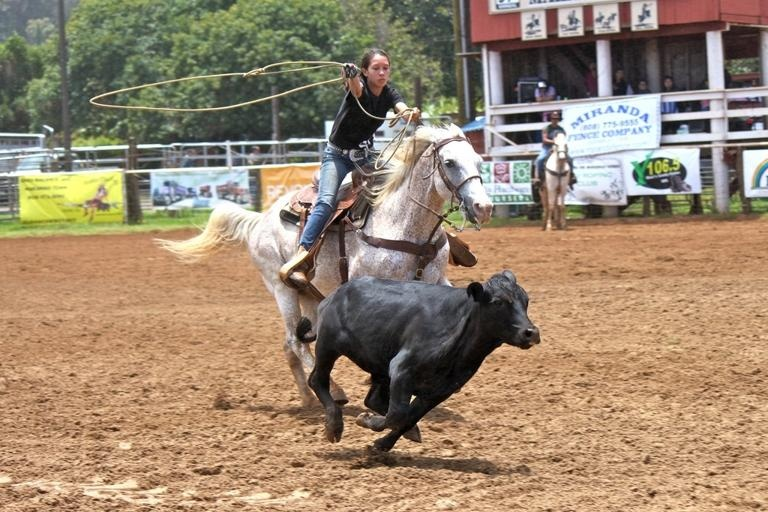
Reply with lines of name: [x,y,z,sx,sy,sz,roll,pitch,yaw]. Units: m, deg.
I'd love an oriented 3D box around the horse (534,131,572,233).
horse: [4.425,-1.969,33.510,0.835,2.489,1.824,-2,3,7]

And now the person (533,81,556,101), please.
person: [4.499,-4.711,36.168,0.639,0.641,0.927,-2,3,6]
